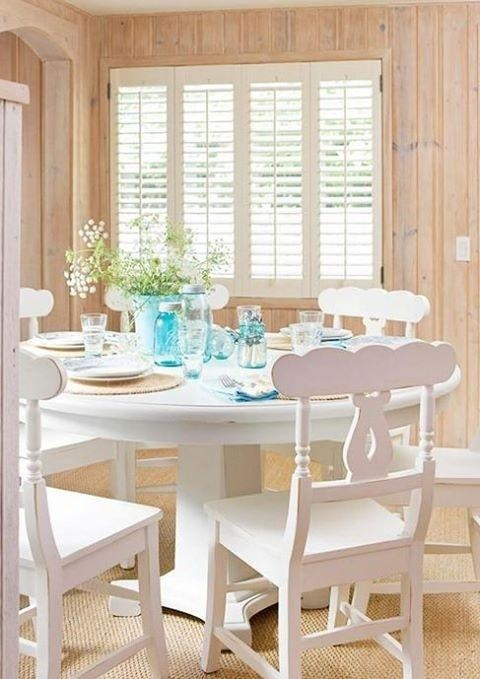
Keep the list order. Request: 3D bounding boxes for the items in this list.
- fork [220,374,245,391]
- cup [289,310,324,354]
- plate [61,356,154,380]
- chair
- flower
[{"bbox_3d":[-0.014,0.087,1.410,0.017,0.015,0.102,-5,15,-16],"label":"fork"},{"bbox_3d":[0.146,-0.026,1.685,0.077,0.117,0.119,1,-2,-6],"label":"cup"},{"bbox_3d":[-0.313,0.067,1.568,0.190,0.029,0.290,-3,7,-18],"label":"plate"},{"bbox_3d":[-0.158,0.239,1.675,0.859,0.519,0.874,-2,4,-11],"label":"chair"},{"bbox_3d":[-0.294,-0.216,2.104,0.638,0.389,0.650,-2,5,0],"label":"flower"}]
